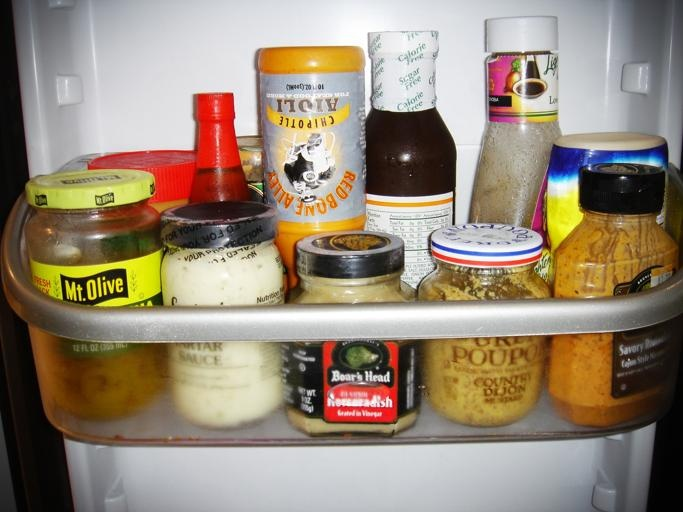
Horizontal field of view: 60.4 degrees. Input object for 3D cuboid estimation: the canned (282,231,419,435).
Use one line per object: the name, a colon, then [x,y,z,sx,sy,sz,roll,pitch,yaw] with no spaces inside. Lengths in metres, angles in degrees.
canned: [0.005,0.056,0.667,0.201,0.229,0.182,1,15,9]

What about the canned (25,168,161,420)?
canned: [-0.262,0.038,0.624,0.151,0.240,0.167,-8,18,-13]
